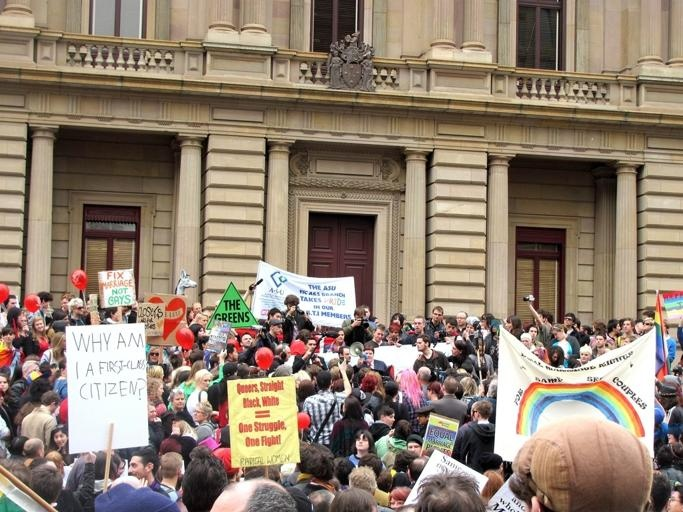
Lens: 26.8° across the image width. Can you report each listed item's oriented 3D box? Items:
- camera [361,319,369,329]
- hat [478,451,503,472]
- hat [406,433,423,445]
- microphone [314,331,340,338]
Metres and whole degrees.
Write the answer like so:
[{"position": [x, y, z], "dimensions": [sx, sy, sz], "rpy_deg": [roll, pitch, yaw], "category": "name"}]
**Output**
[{"position": [0.464, 1.386, 29.397], "dimensions": [0.190, 0.122, 0.304], "rpy_deg": [9, 1, -2], "category": "camera"}, {"position": [2.193, 3.087, 21.517], "dimensions": [0.349, 0.299, 0.255], "rpy_deg": [-12, 16, -25], "category": "hat"}, {"position": [1.120, 2.846, 22.193], "dimensions": [0.168, 0.182, 0.167], "rpy_deg": [0, 33, 5], "category": "hat"}, {"position": [-0.309, 1.656, 30.528], "dimensions": [0.410, 0.100, 0.308], "rpy_deg": [-3, -6, 8], "category": "microphone"}]
